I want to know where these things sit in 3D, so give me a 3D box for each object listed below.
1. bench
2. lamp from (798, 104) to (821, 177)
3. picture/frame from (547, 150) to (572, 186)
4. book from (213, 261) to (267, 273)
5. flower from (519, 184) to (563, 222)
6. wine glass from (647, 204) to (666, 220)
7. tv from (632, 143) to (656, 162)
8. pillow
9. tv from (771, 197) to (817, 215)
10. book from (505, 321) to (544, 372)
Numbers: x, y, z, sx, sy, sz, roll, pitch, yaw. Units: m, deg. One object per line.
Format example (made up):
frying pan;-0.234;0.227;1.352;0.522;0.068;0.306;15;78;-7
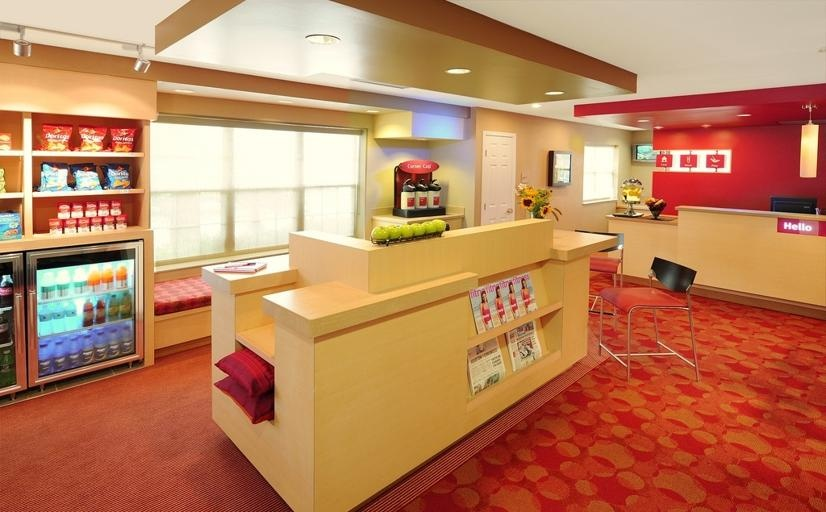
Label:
bench;-2.726;0.749;5.787;0.707;0.462;1.009;-4;8;-43
lamp;5.522;-1.568;6.792;0.233;0.921;1.618;9;13;37
picture/frame;2.708;-1.646;9.079;0.728;0.576;0.095;-5;9;-44
book;-1.556;0.099;4.420;0.454;0.053;0.309;-1;11;-11
flower;1.410;-0.610;5.623;0.366;0.346;0.562;6;12;28
wine glass;4.304;-0.799;8.634;0.335;0.241;0.319;5;10;32
tv;5.189;-2.321;10.902;0.085;0.427;0.644;-6;10;-36
pillow;-1.360;1.075;4.034;0.545;0.552;0.220;10;14;40
tv;6.338;-0.824;8.090;0.610;0.288;0.558;6;10;29
book;1.153;0.957;5.131;0.505;0.427;0.052;-20;5;-33
